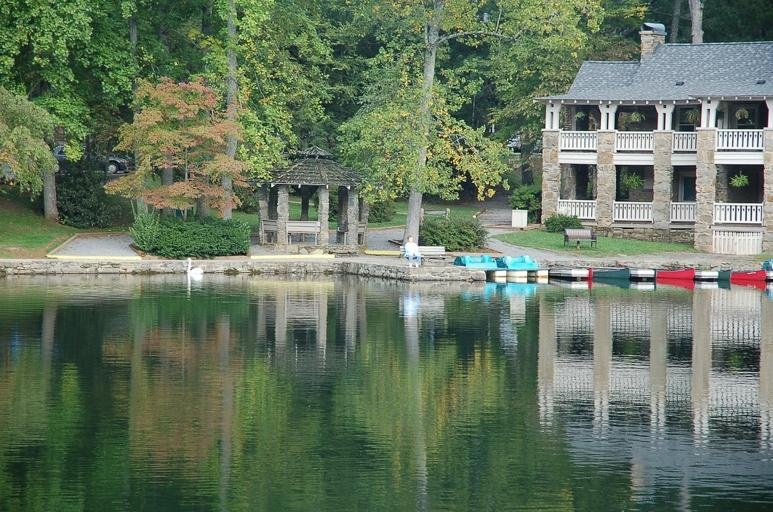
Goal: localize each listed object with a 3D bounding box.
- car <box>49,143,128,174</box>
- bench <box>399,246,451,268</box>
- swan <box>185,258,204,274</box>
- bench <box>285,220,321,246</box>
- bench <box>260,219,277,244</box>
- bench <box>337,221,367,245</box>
[{"bbox_3d":[-17.491,-5.841,102.758,2.521,2.085,5.158,10,16,33],"label":"car"},{"bbox_3d":[2.261,-0.002,89.645,2.593,0.971,0.902,-3,-16,-24],"label":"bench"},{"bbox_3d":[-9.951,0.529,87.731,0.855,0.815,0.905,0,14,-5],"label":"swan"},{"bbox_3d":[-4.674,-1.243,93.653,1.670,0.835,1.478,0,3,19],"label":"bench"},{"bbox_3d":[-6.608,-1.396,94.468,0.877,1.477,1.738,0,14,-5],"label":"bench"},{"bbox_3d":[-1.988,-1.251,95.115,1.381,1.100,1.774,-1,5,-13],"label":"bench"}]
